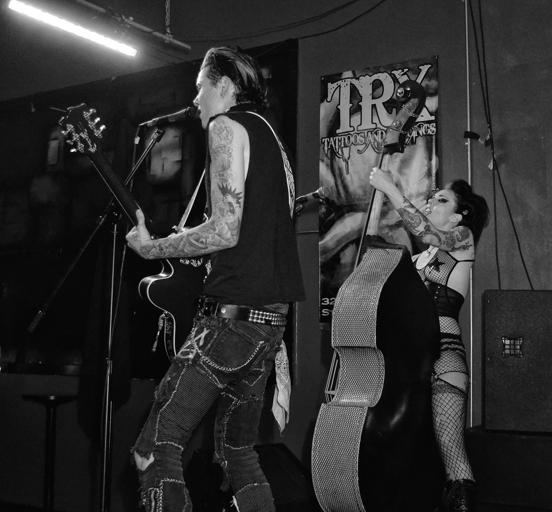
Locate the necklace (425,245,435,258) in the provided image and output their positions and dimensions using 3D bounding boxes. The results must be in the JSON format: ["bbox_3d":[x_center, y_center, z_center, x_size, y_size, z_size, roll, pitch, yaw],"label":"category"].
[{"bbox_3d":[0.730,-0.017,2.831,0.032,0.018,0.066,11,22,19],"label":"necklace"}]
